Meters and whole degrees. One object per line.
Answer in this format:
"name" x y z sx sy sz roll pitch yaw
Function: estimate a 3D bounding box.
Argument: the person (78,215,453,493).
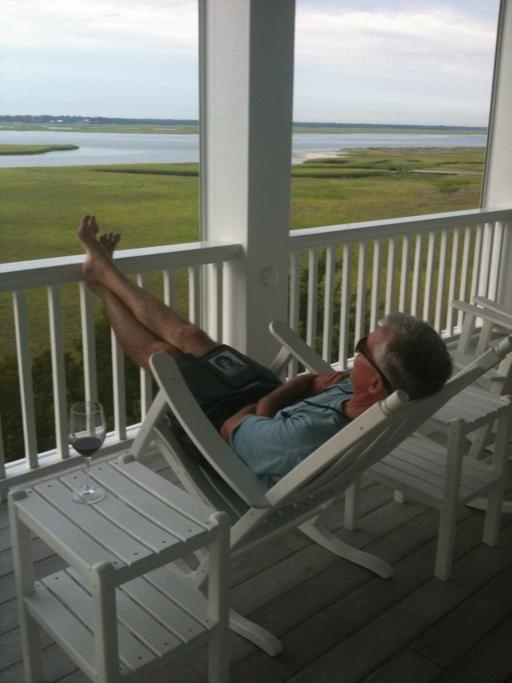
"person" -0.046 -0.003 1.856 1.162 0.546 0.633 31 17 24

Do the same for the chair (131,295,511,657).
"chair" 0.155 0.216 1.835 0.762 0.927 1.033 -12 29 -37

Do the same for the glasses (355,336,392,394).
"glasses" 0.276 0.060 1.385 0.035 0.112 0.108 -31 14 2
